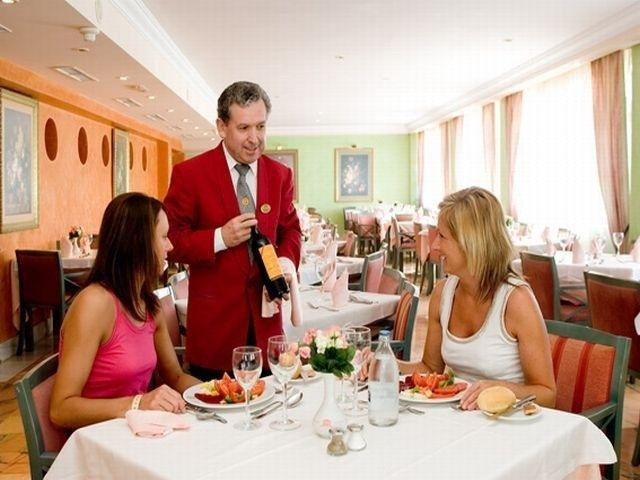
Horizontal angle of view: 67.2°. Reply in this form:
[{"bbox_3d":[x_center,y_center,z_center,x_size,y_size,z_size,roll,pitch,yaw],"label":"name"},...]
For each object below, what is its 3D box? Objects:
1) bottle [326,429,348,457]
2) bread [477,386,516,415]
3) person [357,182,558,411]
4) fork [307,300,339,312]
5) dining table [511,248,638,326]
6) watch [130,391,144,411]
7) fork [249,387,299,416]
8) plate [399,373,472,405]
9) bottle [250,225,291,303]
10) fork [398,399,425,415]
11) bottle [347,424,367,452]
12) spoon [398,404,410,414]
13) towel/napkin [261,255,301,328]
[{"bbox_3d":[0.047,0.581,1.404,0.062,0.077,0.068,1,-7,-7],"label":"bottle"},{"bbox_3d":[0.580,0.511,1.599,0.091,0.062,0.096,-6,-2,17],"label":"bread"},{"bbox_3d":[0.655,0.284,2.095,0.510,0.935,0.643,-5,3,-35],"label":"person"},{"bbox_3d":[0.025,0.405,3.189,0.069,0.048,0.294,3,3,-32],"label":"fork"},{"bbox_3d":[1.966,0.365,3.703,0.570,0.901,0.504,-6,8,-14],"label":"dining table"},{"bbox_3d":[-0.628,0.558,1.665,0.030,0.051,0.051,3,-6,4],"label":"watch"},{"bbox_3d":[-0.150,0.574,1.678,0.051,0.046,0.297,13,3,15],"label":"fork"},{"bbox_3d":[0.409,0.535,1.732,0.125,0.035,0.139,-2,1,-10],"label":"plate"},{"bbox_3d":[-0.211,0.104,2.029,0.150,0.298,0.245,-2,7,-13],"label":"bottle"},{"bbox_3d":[0.311,0.575,1.659,0.093,0.006,0.030,8,16,4],"label":"fork"},{"bbox_3d":[0.107,0.586,1.429,0.063,0.068,0.064,1,-2,-10],"label":"bottle"},{"bbox_3d":[0.288,0.579,1.658,0.062,0.028,0.018,2,1,-29],"label":"spoon"},{"bbox_3d":[-0.169,0.217,2.094,0.210,0.280,0.070,-6,6,-34],"label":"towel/napkin"}]
